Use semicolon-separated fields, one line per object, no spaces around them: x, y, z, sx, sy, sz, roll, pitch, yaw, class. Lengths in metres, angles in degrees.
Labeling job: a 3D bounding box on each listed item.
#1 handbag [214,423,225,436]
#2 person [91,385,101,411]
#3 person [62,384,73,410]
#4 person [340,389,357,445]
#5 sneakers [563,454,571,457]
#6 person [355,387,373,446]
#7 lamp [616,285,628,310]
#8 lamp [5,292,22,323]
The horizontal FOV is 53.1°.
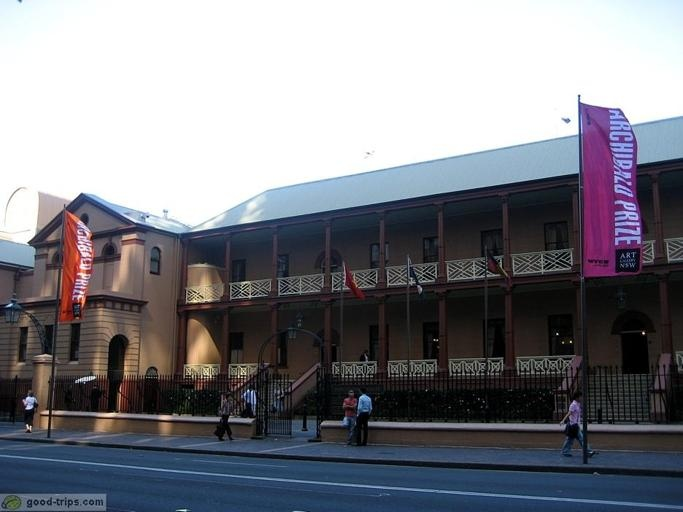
-4.298;6.114;24.086;0.353;0.529;0.531;2;-14;-11;handbag
-10.212;5.825;28.243;0.392;1.130;1.327;5;-15;-21;person
-11.541;5.935;28.805;0.370;0.978;0.728;5;-15;-24;person
0.270;5.240;22.381;0.499;1.717;0.977;-1;-14;0;person
6.157;5.382;18.555;0.223;0.073;0.090;-3;-16;45;sneakers
0.716;5.200;22.182;0.531;1.769;0.861;-1;-14;0;person
12.490;1.776;30.393;0.488;1.007;1.110;-7;-15;23;lamp
-13.997;2.232;29.048;0.542;1.467;3.291;5;-16;-25;lamp
